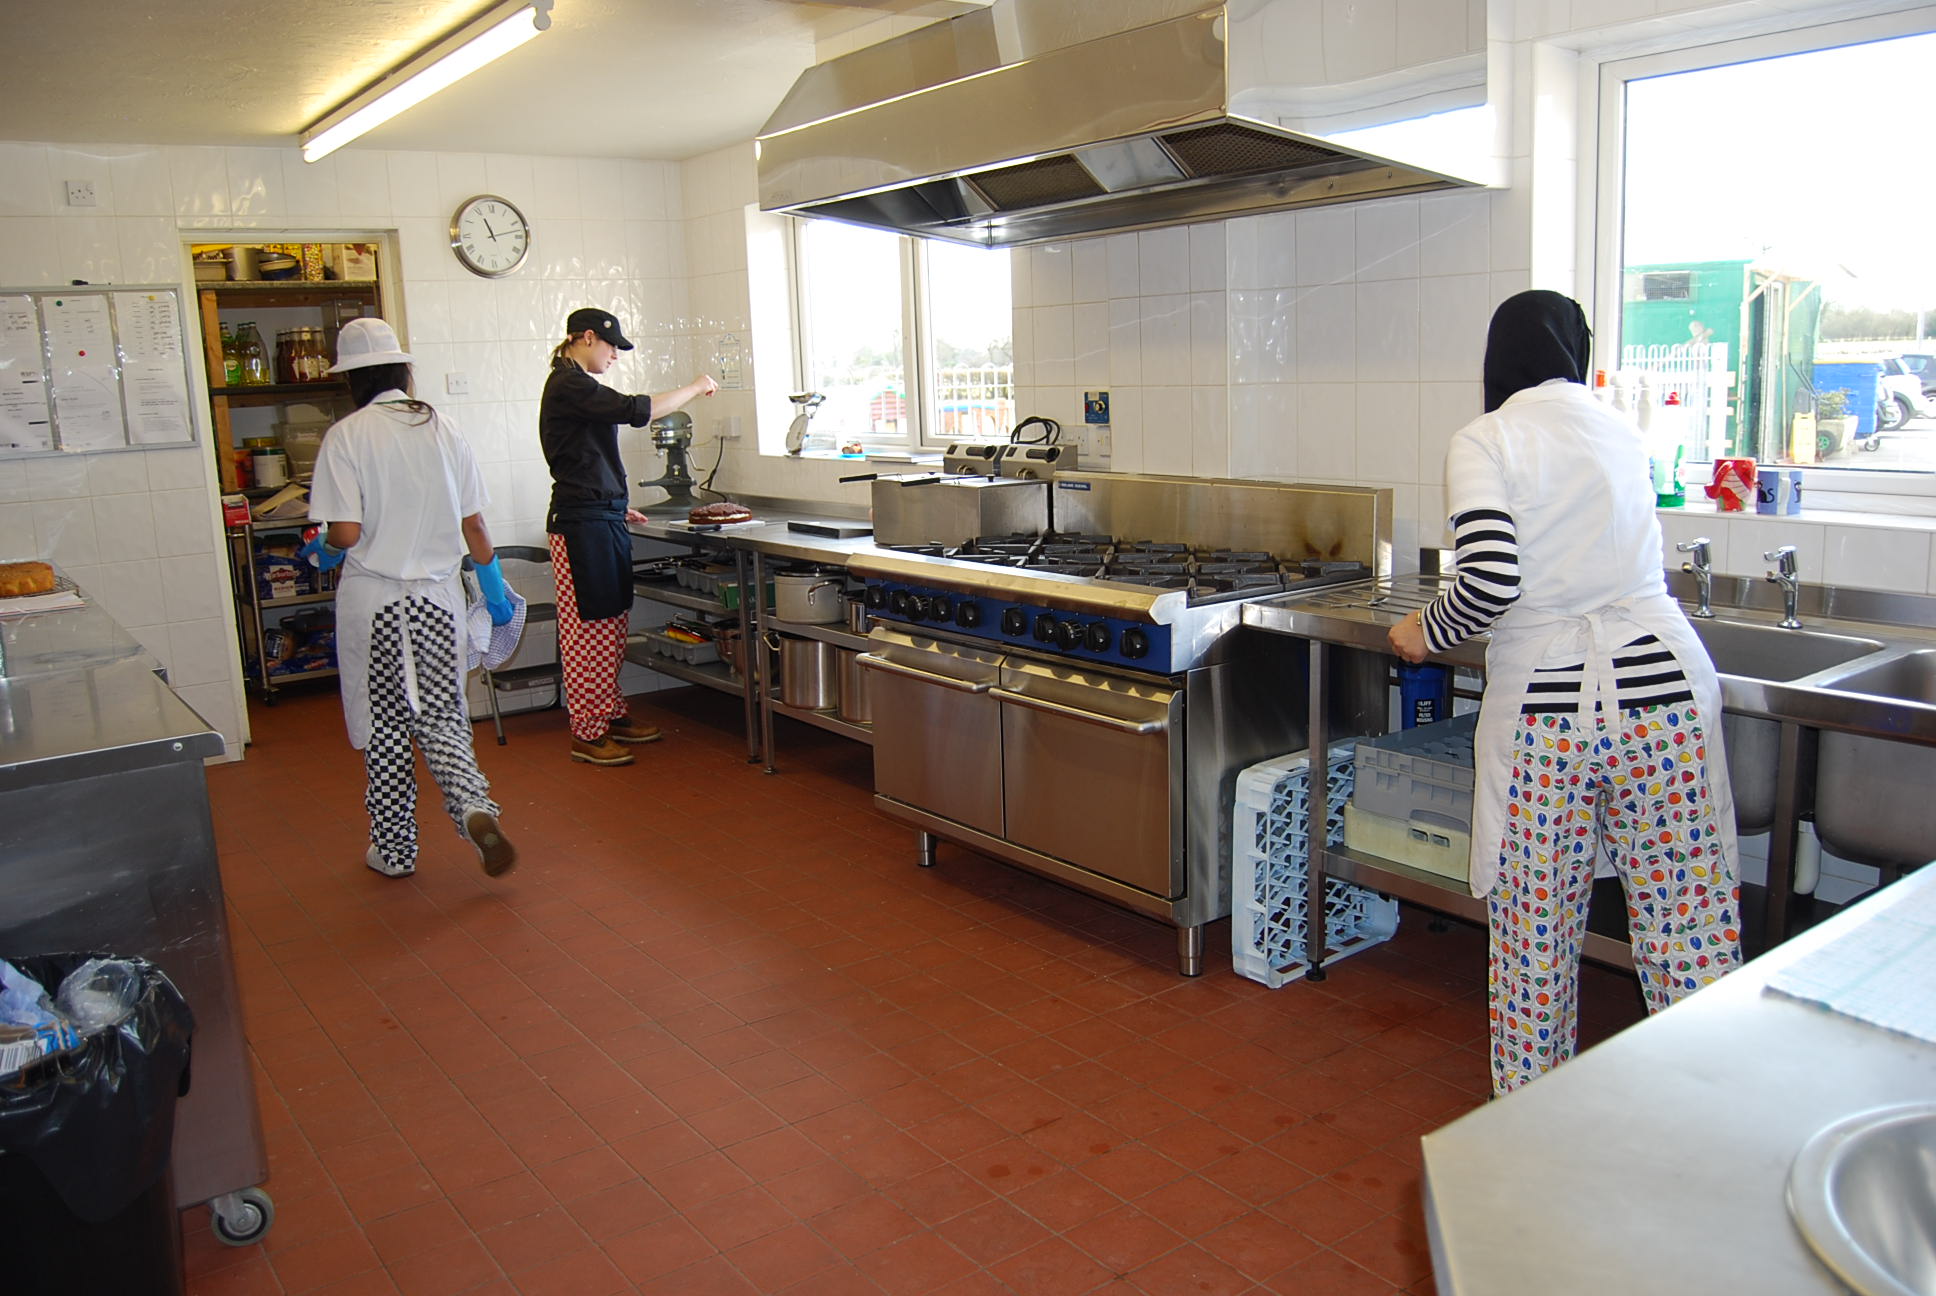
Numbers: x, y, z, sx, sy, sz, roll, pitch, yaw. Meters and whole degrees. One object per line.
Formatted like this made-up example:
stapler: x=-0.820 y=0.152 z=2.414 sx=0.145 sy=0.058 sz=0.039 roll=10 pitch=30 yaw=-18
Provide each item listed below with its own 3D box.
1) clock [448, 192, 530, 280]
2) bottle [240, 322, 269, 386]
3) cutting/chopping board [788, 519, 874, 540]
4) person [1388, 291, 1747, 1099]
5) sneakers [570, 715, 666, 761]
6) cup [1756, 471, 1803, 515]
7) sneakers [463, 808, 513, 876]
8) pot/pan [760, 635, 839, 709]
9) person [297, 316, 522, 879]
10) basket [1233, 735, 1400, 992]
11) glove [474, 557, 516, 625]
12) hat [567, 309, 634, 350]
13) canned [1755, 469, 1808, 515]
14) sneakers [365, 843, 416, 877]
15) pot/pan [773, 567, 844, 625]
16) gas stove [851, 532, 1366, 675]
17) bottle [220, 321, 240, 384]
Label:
clock: x=-2.312 y=-2.022 z=6.406 sx=0.371 sy=0.358 sz=0.076 roll=-2 pitch=10 yaw=-35
bottle: x=-3.830 y=-1.597 z=7.052 sx=0.138 sy=0.336 sz=0.501 roll=-9 pitch=16 yaw=-26
cutting/chopping board: x=-0.564 y=-0.498 z=5.424 sx=0.323 sy=0.028 sz=0.506 roll=-5 pitch=14 yaw=-14
person: x=1.289 y=0.135 z=2.823 sx=0.685 sy=1.763 sz=0.359 roll=4 pitch=15 yaw=21
sneakers: x=-1.538 y=0.392 z=5.681 sx=0.259 sy=0.083 sz=0.208 roll=-1 pitch=8 yaw=27
cup: x=2.095 y=-0.404 z=3.393 sx=0.124 sy=0.103 sz=0.097 roll=-6 pitch=10 yaw=-34
sneakers: x=-1.543 y=0.622 z=4.278 sx=0.126 sy=0.229 sz=0.099 roll=-18 pitch=4 yaw=-10
pot/pan: x=-0.658 y=0.058 z=5.178 sx=0.329 sy=0.282 sz=0.288 roll=-1 pitch=4 yaw=-6
person: x=-1.831 y=-0.141 z=4.356 sx=0.540 sy=1.854 sz=0.853 roll=-8 pitch=15 yaw=-24
basket: x=0.958 y=0.574 z=3.646 sx=0.516 sy=0.618 sz=0.227 roll=-8 pitch=15 yaw=-23
glove: x=-1.704 y=-0.213 z=4.744 sx=0.069 sy=0.213 sz=0.160 roll=-19 pitch=25 yaw=-35
hat: x=-1.519 y=-1.335 z=5.508 sx=0.319 sy=0.167 sz=0.211 roll=-2 pitch=13 yaw=-25
canned: x=2.097 y=-0.409 z=3.393 sx=0.101 sy=0.097 sz=0.130 roll=9 pitch=15 yaw=41
sneakers: x=-1.984 y=0.711 z=4.501 sx=0.154 sy=0.063 sz=0.102 roll=13 pitch=-32 yaw=-7
pot/pan: x=-0.627 y=-0.219 z=5.135 sx=0.225 sy=0.133 sz=0.221 roll=-6 pitch=14 yaw=-25
gas stove: x=0.399 y=-0.169 z=4.030 sx=0.728 sy=0.267 sz=1.315 roll=-14 pitch=19 yaw=-41
bottle: x=-3.880 y=-1.555 z=6.937 sx=0.111 sy=0.300 sz=0.343 roll=-9 pitch=16 yaw=-27
